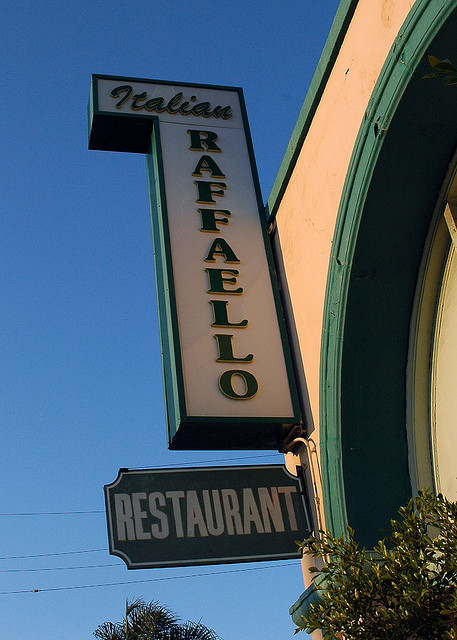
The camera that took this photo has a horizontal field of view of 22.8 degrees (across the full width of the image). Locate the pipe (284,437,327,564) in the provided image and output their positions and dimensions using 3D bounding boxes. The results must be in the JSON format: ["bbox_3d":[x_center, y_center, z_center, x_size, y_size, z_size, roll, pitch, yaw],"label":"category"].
[{"bbox_3d":[0.539,1.245,7.974,0.189,0.858,0.127,-8,-33,3],"label":"pipe"}]

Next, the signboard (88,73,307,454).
[{"bbox_3d":[-0.378,-0.636,9.316,1.439,3.829,0.416,5,-41,-15],"label":"signboard"}]
